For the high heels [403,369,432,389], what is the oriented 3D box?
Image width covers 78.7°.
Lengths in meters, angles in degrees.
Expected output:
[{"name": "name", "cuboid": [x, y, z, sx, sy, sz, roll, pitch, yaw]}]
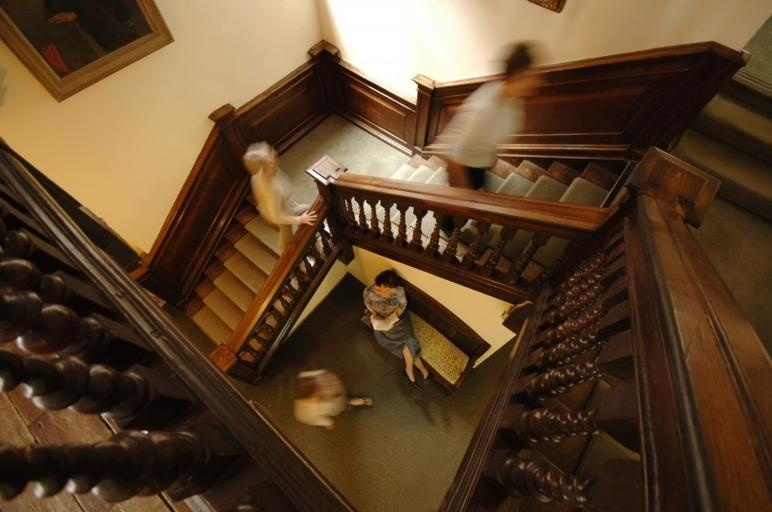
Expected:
[{"name": "high heels", "cuboid": [0.363, 1.475, 5.536, 0.412, 0.190, 0.142, 13, 90, 16]}]

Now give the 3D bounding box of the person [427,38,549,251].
[{"name": "person", "cuboid": [0.945, -1.078, 4.720, 0.666, 2.020, 0.665, -36, 63, -18]}]

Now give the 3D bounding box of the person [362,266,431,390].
[{"name": "person", "cuboid": [0.148, 0.825, 5.319, 0.473, 0.789, 1.171, -24, 83, 1]}]

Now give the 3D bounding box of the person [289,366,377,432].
[{"name": "person", "cuboid": [-0.576, 1.414, 4.799, 0.830, 0.906, 0.672, 6, 90, 7]}]

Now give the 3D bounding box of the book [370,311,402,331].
[{"name": "book", "cuboid": [-0.008, 0.719, 5.175, 0.316, 0.107, 0.188, 3, 81, 17]}]

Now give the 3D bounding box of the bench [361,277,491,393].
[{"name": "bench", "cuboid": [0.483, 0.886, 5.204, 1.453, 1.117, 0.621, 40, 85, 6]}]
